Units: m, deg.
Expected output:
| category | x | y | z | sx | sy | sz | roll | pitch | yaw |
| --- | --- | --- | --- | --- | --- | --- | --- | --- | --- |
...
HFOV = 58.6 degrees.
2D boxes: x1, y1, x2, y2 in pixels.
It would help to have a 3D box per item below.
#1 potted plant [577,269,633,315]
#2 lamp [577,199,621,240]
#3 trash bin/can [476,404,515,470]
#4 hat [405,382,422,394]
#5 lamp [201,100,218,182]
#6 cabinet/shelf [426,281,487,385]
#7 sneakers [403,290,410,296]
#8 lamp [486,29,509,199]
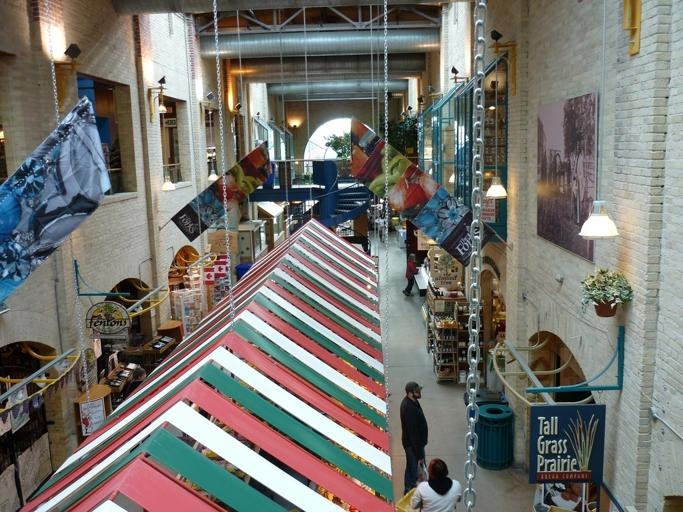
| category | x | y | z | sx | sy | sz | roll | pitch | yaw |
| --- | --- | --- | --- | --- | --- | --- | --- | --- | --- |
| potted plant | 3.039 | 0.472 | 6.941 | 0.472 | 0.410 | 0.495 | -14 | 24 | -19 |
| lamp | 2.836 | -0.396 | 6.645 | 0.388 | 0.422 | 0.404 | -6 | 8 | -19 |
| trash bin/can | 2.570 | 3.055 | 10.182 | 0.659 | 0.958 | 0.582 | -2 | 10 | -24 |
| hat | 1.041 | 1.881 | 8.716 | 0.175 | 0.118 | 0.230 | 6 | 10 | 14 |
| lamp | -4.377 | -3.741 | 20.037 | 0.404 | 2.789 | 0.672 | -7 | -4 | 12 |
| cabinet/shelf | 2.438 | 1.739 | 13.655 | 0.780 | 1.894 | 1.736 | 3 | 9 | 3 |
| sneakers | 2.135 | 1.195 | 20.027 | 0.140 | 0.165 | 0.341 | -2 | 11 | -25 |
| lamp | 2.878 | -2.486 | 10.904 | 0.434 | 2.923 | 1.442 | 4 | 9 | 14 |
